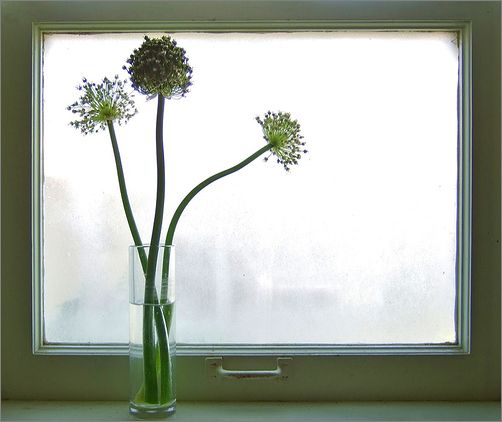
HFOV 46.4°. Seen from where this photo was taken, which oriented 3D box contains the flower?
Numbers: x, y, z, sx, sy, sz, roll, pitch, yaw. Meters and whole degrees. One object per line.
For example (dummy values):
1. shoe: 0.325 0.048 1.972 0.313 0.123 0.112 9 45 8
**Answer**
1. flower: -0.067 0.032 1.865 0.668 0.655 1.330 -4 -93 20
